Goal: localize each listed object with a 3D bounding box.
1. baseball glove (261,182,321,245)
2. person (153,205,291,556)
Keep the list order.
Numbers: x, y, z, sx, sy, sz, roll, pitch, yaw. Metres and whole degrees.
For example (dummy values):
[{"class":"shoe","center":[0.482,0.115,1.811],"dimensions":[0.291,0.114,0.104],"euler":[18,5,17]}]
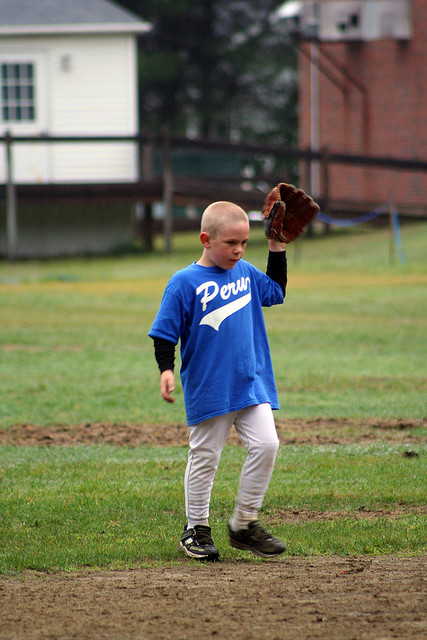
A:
[{"class":"baseball glove","center":[0.363,-0.519,7.525],"dimensions":[0.220,0.331,0.267],"euler":[-17,-44,26]},{"class":"person","center":[0.039,0.280,7.232],"dimensions":[0.628,1.675,0.542],"euler":[-1,9,2]}]
